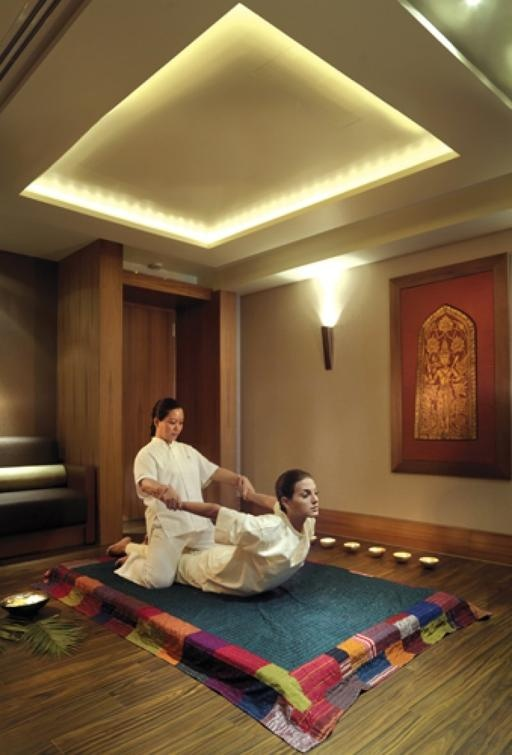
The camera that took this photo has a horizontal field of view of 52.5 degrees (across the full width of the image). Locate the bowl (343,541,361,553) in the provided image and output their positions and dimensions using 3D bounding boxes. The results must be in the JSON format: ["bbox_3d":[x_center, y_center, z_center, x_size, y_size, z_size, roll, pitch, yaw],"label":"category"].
[{"bbox_3d":[0.663,1.169,3.616,0.116,0.059,0.117,1,-4,0],"label":"bowl"}]

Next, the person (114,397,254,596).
[{"bbox_3d":[-0.443,0.637,2.940,0.683,0.971,0.928,0,-9,-25],"label":"person"}]

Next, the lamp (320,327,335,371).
[{"bbox_3d":[0.630,-0.246,4.536,0.093,0.379,0.160,-3,-4,9],"label":"lamp"}]

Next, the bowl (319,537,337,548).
[{"bbox_3d":[0.543,1.203,3.790,0.105,0.049,0.097,0,-5,0],"label":"bowl"}]

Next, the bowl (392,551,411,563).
[{"bbox_3d":[0.943,1.141,3.331,0.104,0.048,0.106,1,-1,0],"label":"bowl"}]

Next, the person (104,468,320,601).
[{"bbox_3d":[-0.170,0.756,2.568,0.530,0.598,0.964,1,-5,-43],"label":"person"}]

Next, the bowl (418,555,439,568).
[{"bbox_3d":[1.050,1.107,3.154,0.113,0.051,0.116,1,-4,0],"label":"bowl"}]
